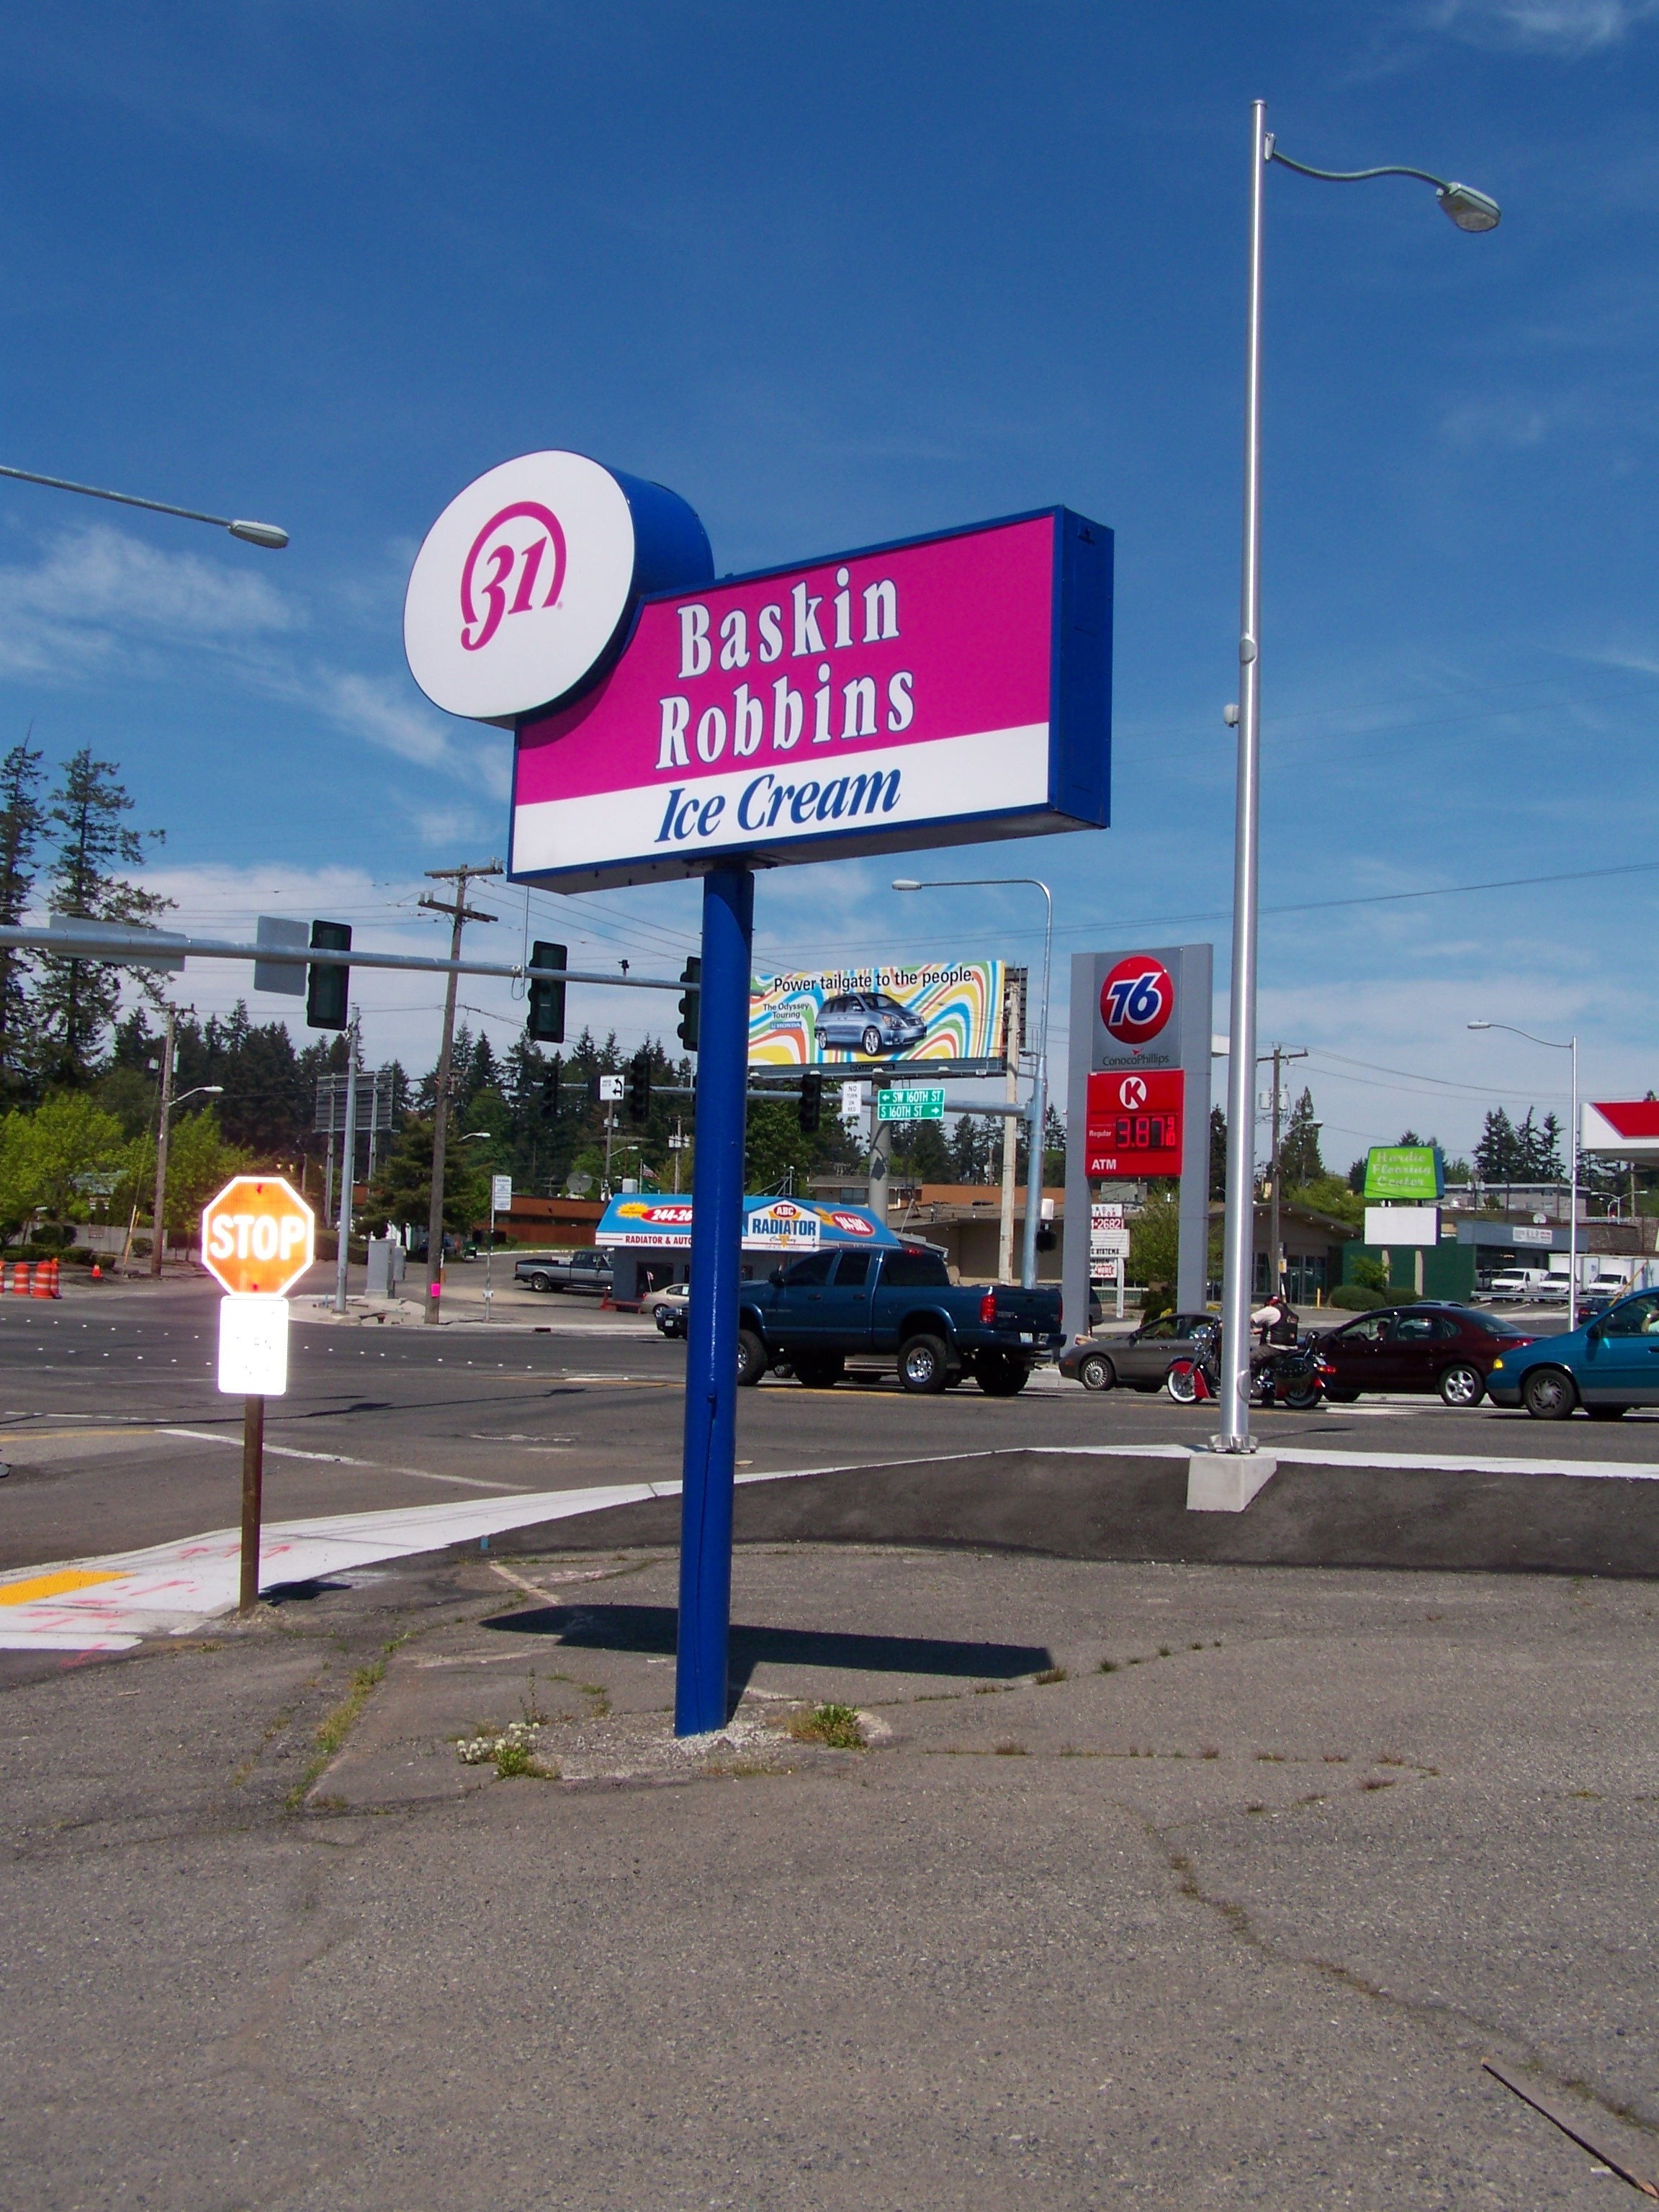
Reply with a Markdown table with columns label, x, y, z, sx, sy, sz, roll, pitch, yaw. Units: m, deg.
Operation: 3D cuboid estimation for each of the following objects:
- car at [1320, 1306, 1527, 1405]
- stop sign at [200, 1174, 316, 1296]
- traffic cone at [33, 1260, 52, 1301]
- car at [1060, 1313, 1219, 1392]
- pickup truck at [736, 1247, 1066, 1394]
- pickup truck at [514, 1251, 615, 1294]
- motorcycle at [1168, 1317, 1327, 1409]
| label | x | y | z | sx | sy | sz | roll | pitch | yaw |
| --- | --- | --- | --- | --- | --- | --- | --- | --- | --- |
| car | 8.729 | 3.504 | 28.576 | 2.915 | 1.009 | 1.388 | -1 | -3 | 42 |
| stop sign | -3.122 | 0.709 | 10.738 | 0.858 | 0.665 | 0.433 | 0 | -4 | 38 |
| traffic cone | -23.907 | 5.288 | 59.769 | 0.577 | 0.950 | 1.287 | 3 | -3 | -23 |
| car | 4.956 | 3.999 | 31.672 | 2.215 | 0.787 | 1.034 | -1 | -5 | 25 |
| pickup truck | 0.963 | 3.292 | 30.275 | 4.846 | 1.909 | 2.448 | 1 | -4 | 33 |
| pickup truck | -10.670 | 7.025 | 79.027 | 3.766 | 1.162 | 2.057 | -2 | 3 | -4 |
| motorcycle | 5.820 | 3.802 | 27.615 | 2.135 | 1.228 | 1.156 | 4 | -1 | 22 |
